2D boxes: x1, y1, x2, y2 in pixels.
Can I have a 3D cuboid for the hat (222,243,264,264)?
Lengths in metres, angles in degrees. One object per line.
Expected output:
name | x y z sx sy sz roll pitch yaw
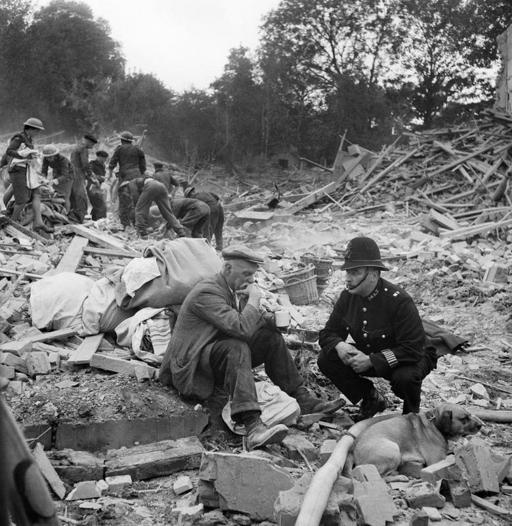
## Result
hat | -0.100 -0.065 3.698 0.195 0.070 0.159 5 4 -16

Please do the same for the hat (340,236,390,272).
hat | 0.797 -0.074 3.811 0.292 0.178 0.232 -5 7 -32

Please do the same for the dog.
dog | 0.985 1.160 3.380 0.778 0.451 0.430 6 -12 -15

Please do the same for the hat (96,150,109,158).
hat | -3.445 -2.495 11.648 0.210 0.107 0.208 7 -2 -30

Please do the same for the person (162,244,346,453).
person | 0.007 0.527 3.874 1.197 1.247 1.462 2 1 -36

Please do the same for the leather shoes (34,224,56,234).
leather shoes | -3.268 -0.516 8.066 0.314 0.127 0.239 -2 15 -34
